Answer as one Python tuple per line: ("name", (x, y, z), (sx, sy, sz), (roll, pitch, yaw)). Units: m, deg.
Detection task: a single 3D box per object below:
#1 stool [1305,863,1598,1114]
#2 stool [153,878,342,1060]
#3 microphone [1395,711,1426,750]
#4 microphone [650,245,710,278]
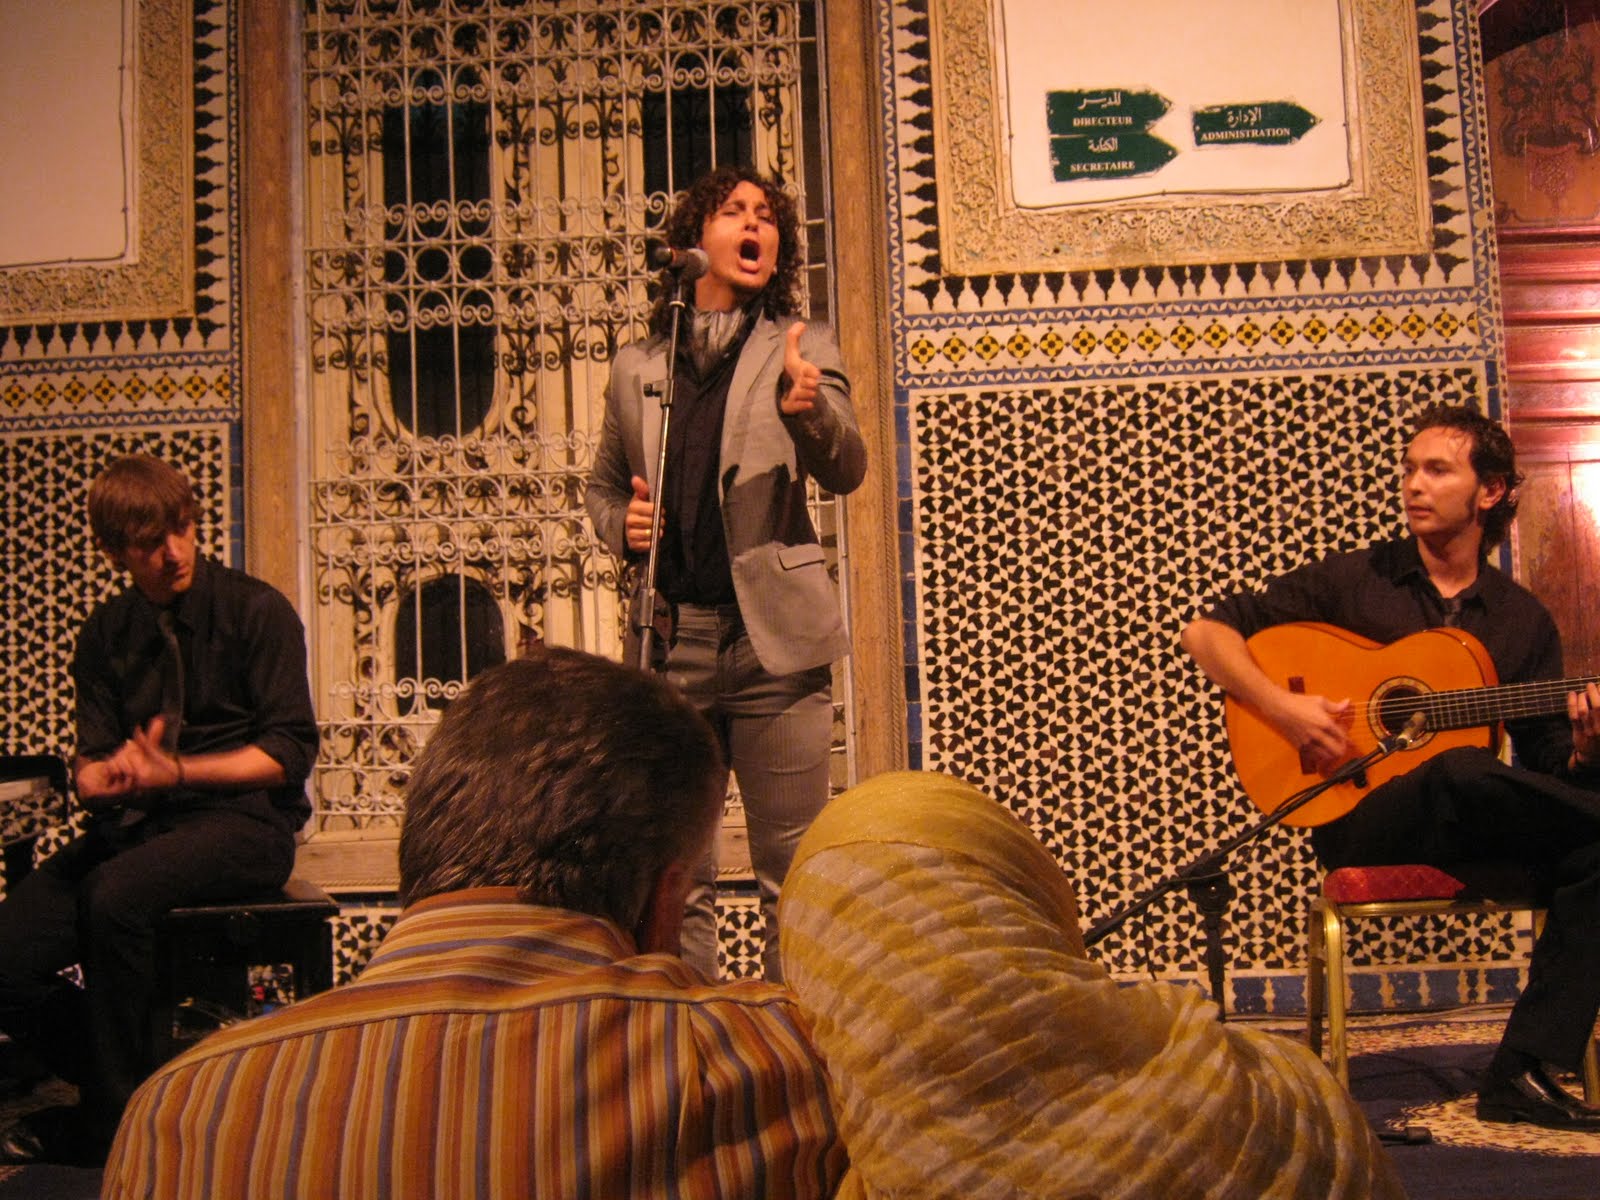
("stool", (1.970, 1.078, 8.024), (0.878, 0.847, 0.695), (0, -4, 7))
("stool", (-1.676, 1.127, 8.039), (0.465, 0.626, 0.474), (1, -11, -16))
("microphone", (1.899, 0.402, 8.140), (0.074, 0.109, 0.070), (-3, 2, -18))
("microphone", (-0.378, -1.033, 8.059), (0.149, 0.102, 0.265), (-4, 3, -38))
